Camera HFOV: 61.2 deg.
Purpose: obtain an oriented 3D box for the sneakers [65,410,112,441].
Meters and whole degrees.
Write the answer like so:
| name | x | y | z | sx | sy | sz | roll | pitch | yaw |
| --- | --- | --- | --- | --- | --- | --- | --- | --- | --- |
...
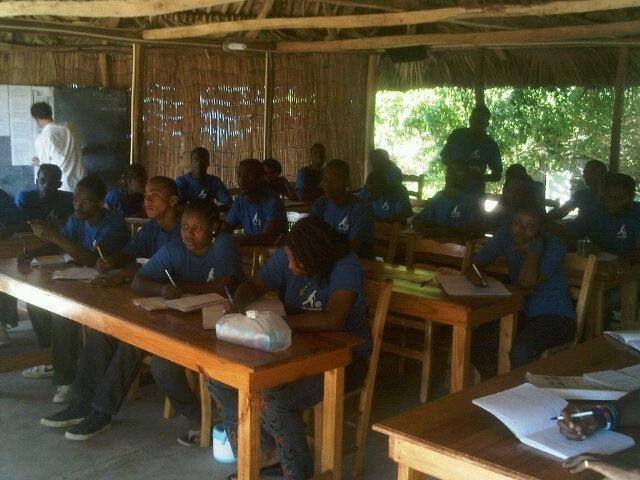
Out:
| name | x | y | z | sx | sy | sz | roll | pitch | yaw |
| --- | --- | --- | --- | --- | --- | --- | --- | --- | --- |
| sneakers | -1.331 | 1.075 | 3.232 | 0.116 | 0.133 | 0.322 | 18 | 13 | 38 |

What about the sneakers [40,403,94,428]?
| name | x | y | z | sx | sy | sz | roll | pitch | yaw |
| --- | --- | --- | --- | --- | --- | --- | --- | --- | --- |
| sneakers | -1.516 | 1.067 | 3.247 | 0.336 | 0.127 | 0.121 | 2 | 6 | -27 |

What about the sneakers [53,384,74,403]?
| name | x | y | z | sx | sy | sz | roll | pitch | yaw |
| --- | --- | --- | --- | --- | --- | --- | --- | --- | --- |
| sneakers | -1.694 | 1.025 | 3.575 | 0.070 | 0.075 | 0.183 | 2 | -4 | -10 |
